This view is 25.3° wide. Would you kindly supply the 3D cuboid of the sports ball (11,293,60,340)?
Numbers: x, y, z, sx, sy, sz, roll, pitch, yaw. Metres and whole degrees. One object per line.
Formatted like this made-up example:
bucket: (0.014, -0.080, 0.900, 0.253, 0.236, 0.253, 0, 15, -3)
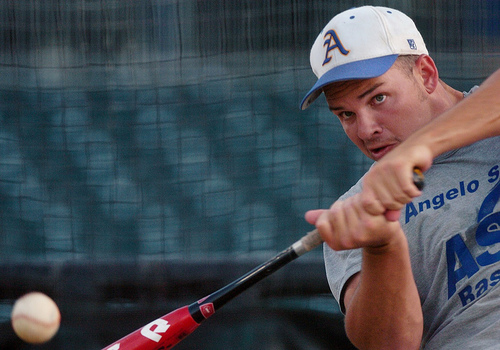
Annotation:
sports ball: (-1.538, 1.022, 8.103, 0.307, 0.317, 0.309, -12, 45, 12)
